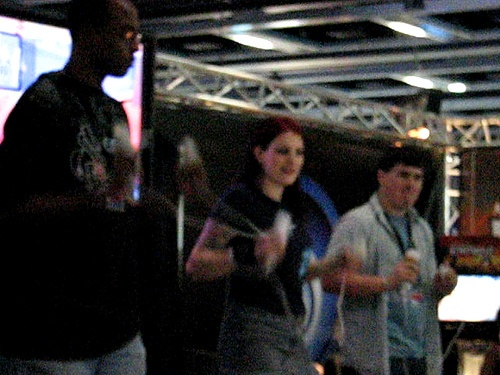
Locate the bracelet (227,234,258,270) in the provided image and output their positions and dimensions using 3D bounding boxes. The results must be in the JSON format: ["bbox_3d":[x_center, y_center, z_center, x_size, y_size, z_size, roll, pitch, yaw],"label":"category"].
[{"bbox_3d":[-0.030,0.374,4.041,0.188,0.184,0.044,0,-3,-23],"label":"bracelet"}]
